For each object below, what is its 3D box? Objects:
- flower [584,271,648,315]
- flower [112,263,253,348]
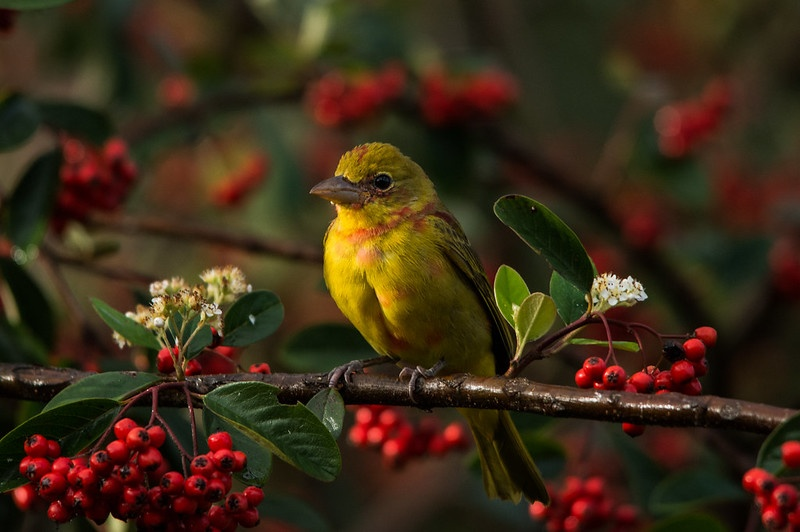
[{"bbox_3d":[1.109,0.140,4.560,0.232,0.139,0.231,-5,-5,-44],"label":"flower"},{"bbox_3d":[-1.189,0.300,4.814,0.533,0.370,0.514,-15,-7,22],"label":"flower"}]
